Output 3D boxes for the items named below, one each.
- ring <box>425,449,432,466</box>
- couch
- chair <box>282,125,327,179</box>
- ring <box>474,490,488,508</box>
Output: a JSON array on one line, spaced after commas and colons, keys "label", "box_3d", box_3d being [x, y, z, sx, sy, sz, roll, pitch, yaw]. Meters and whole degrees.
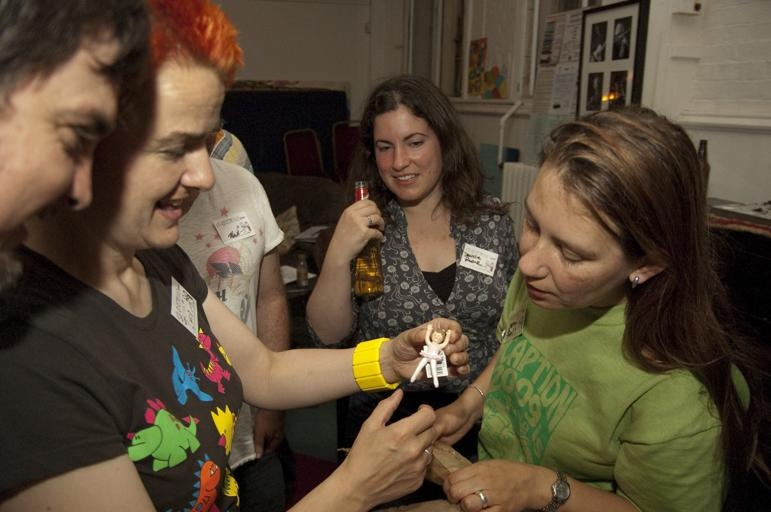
[{"label": "ring", "box_3d": [0.122, 0.564, 1.544, 0.031, 0.046, 0.035, -5, -19, 9]}, {"label": "couch", "box_3d": [-0.717, -0.284, 5.506, 0.948, 0.948, 0.427, 14, 8, 35]}, {"label": "chair", "box_3d": [-0.982, -1.198, 6.763, 0.402, 0.756, 0.727, -1, -5, -9]}, {"label": "ring", "box_3d": [0.251, 0.638, 1.446, 0.030, 0.035, 0.033, 1, 5, -5]}]
